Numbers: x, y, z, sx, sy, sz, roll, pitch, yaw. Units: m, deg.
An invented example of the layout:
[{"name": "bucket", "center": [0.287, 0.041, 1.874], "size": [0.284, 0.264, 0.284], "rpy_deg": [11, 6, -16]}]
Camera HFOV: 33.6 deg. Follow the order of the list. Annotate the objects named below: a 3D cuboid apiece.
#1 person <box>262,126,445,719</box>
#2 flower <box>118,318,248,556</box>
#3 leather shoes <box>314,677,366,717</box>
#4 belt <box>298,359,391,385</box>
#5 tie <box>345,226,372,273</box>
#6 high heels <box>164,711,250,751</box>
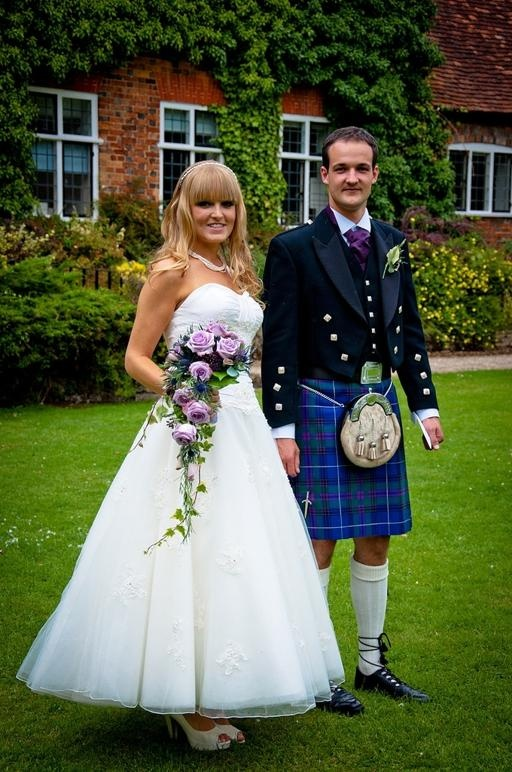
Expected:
[{"name": "person", "center": [0.355, 0.110, 2.989], "size": [0.682, 1.956, 0.398], "rpy_deg": [1, -1, -26]}, {"name": "flower", "center": [-0.201, 0.148, 2.492], "size": [0.354, 0.653, 0.335], "rpy_deg": [1, 11, -3]}, {"name": "leather shoes", "center": [0.267, 1.050, 2.877], "size": [0.187, 0.073, 0.104], "rpy_deg": [-6, -2, 36]}, {"name": "belt", "center": [0.324, -0.058, 2.889], "size": [0.268, 0.078, 0.141], "rpy_deg": [-2, 13, -25]}, {"name": "tie", "center": [0.360, -0.472, 2.959], "size": [0.100, 0.140, 0.042], "rpy_deg": [-6, -13, -28]}, {"name": "high heels", "center": [-0.159, 1.046, 2.608], "size": [0.215, 0.099, 0.110], "rpy_deg": [-2, -1, 21]}]
